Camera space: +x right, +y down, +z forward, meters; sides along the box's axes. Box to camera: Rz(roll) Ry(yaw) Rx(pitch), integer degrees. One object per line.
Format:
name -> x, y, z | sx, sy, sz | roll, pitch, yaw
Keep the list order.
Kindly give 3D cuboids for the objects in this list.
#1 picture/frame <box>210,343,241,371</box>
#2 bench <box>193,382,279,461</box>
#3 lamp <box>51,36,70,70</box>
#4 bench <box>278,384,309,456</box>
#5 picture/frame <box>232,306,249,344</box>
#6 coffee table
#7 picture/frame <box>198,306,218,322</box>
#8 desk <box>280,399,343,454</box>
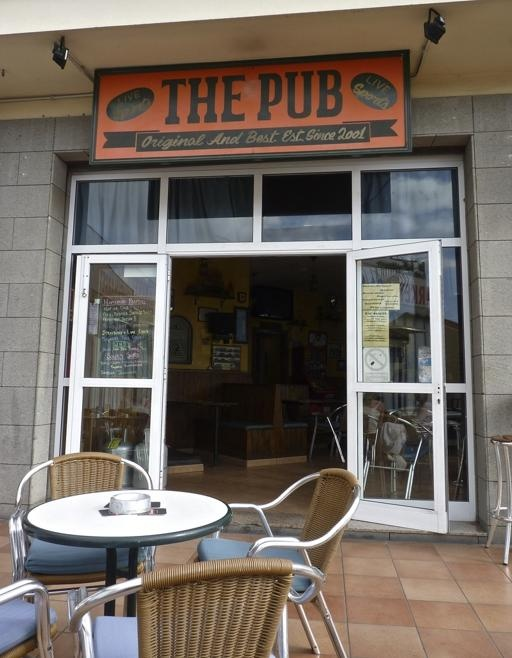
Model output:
picture/frame -> -0.513, 0.448, 9.618 | 0.450, 0.345, 0.151 | 5, -8, -33
bench -> -0.258, 1.225, 7.860 | 0.380, 0.639, 1.028 | 5, -6, -26
lamp -> -1.365, -1.923, 4.235 | 0.072, 0.173, 0.132 | 17, -26, -35
bench -> 0.490, 1.256, 8.247 | 0.576, 0.931, 1.005 | 0, -4, -5
picture/frame -> -0.276, -0.053, 9.958 | 0.080, 0.758, 0.589 | -4, -7, 30
coffee table -> -0.413, 0.858, 2.044 | 0.568, 0.364, 0.541 | 1, -1, -1
picture/frame -> -0.782, -0.233, 9.585 | 0.259, 0.163, 0.026 | 1, -3, -30
desk -> 1.014, 1.448, 8.748 | 0.712, 0.798, 0.637 | 7, -24, -23
